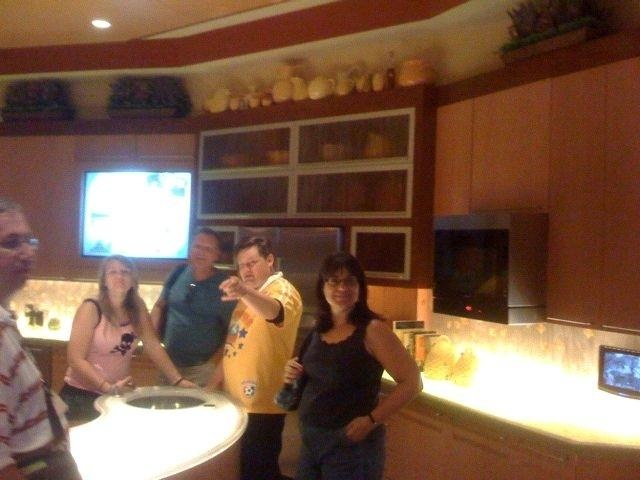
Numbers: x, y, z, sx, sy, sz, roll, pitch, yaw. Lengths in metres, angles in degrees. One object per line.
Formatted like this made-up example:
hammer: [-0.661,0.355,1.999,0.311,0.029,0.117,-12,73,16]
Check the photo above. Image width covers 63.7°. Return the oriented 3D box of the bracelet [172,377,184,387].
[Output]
bracelet: [-0.742,0.749,2.703,0.055,0.041,0.104,1,-1,-15]

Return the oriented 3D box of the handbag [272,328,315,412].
handbag: [-0.119,0.585,2.321,0.119,0.412,0.114,9,18,3]

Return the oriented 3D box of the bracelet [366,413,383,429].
bracelet: [0.234,0.754,2.162,0.018,0.072,0.067,-21,9,-6]

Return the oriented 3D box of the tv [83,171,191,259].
tv: [-1.794,-0.247,5.175,0.930,0.632,0.097,0,0,10]

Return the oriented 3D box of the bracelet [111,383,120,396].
bracelet: [-0.912,0.673,2.311,0.039,0.028,0.039,-2,-4,16]

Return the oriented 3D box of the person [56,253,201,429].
person: [-1.100,0.725,2.900,0.701,1.216,0.739,5,10,-25]
